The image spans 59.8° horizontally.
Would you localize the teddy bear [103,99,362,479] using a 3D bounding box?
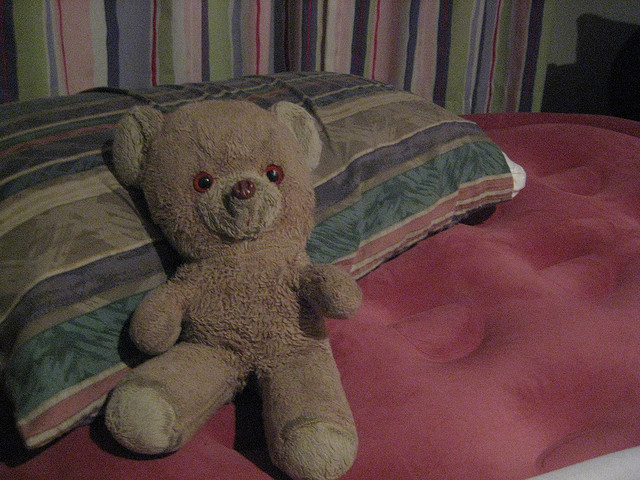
[{"bbox_3d":[-0.148,0.060,0.915,0.402,0.519,0.460,-5,21,-10],"label":"teddy bear"}]
